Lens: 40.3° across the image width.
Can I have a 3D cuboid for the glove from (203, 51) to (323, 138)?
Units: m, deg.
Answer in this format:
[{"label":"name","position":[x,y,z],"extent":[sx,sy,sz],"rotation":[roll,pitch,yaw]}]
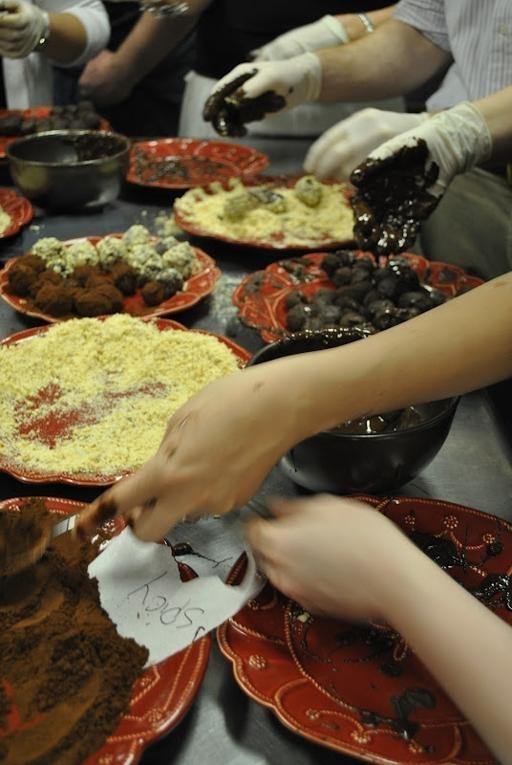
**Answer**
[{"label":"glove","position":[0.022,-0.700,1.699],"extent":[0.330,0.125,0.194],"rotation":[-16,5,35]}]
